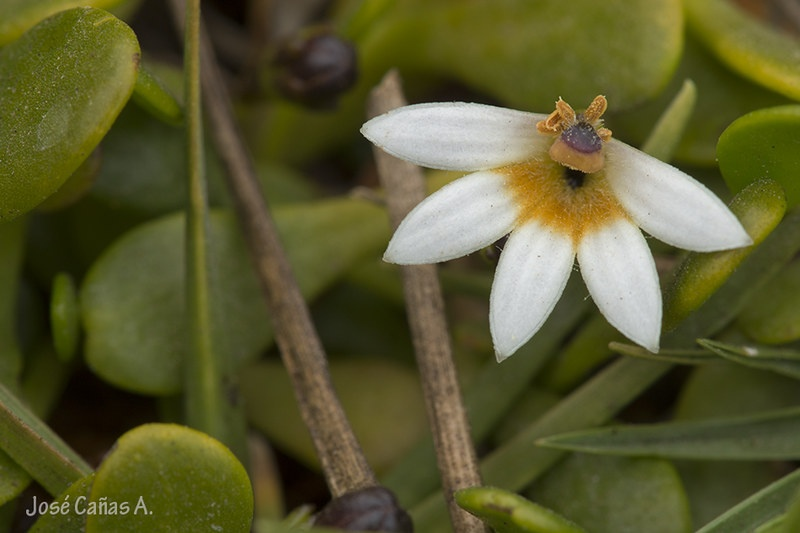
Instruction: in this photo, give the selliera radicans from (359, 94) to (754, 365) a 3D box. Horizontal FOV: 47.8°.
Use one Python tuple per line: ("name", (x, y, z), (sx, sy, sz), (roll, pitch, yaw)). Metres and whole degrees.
("selliera radicans", (0.165, -0.044, 0.946), (0.268, 0.117, 0.337), (5, 78, 9))
